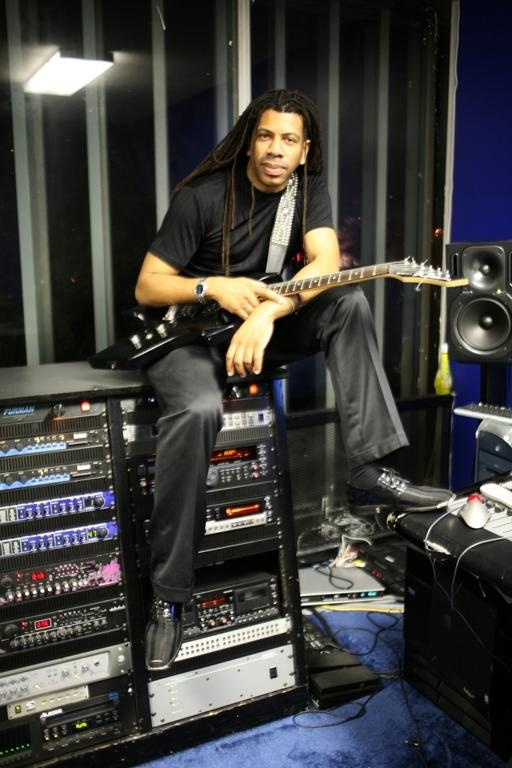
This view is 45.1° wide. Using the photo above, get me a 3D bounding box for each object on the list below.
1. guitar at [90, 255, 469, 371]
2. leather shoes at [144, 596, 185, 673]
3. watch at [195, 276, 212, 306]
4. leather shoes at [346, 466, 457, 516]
[{"bbox_3d":[0.043,-0.245,2.034,0.738,0.085,0.274,-12,42,15],"label":"guitar"},{"bbox_3d":[-0.249,0.677,1.659,0.075,0.228,0.089,3,-7,8],"label":"leather shoes"},{"bbox_3d":[-0.139,-0.254,1.753,0.042,0.066,0.058,1,10,-2],"label":"watch"},{"bbox_3d":[0.370,0.267,1.655,0.315,0.139,0.113,-1,12,13],"label":"leather shoes"}]
